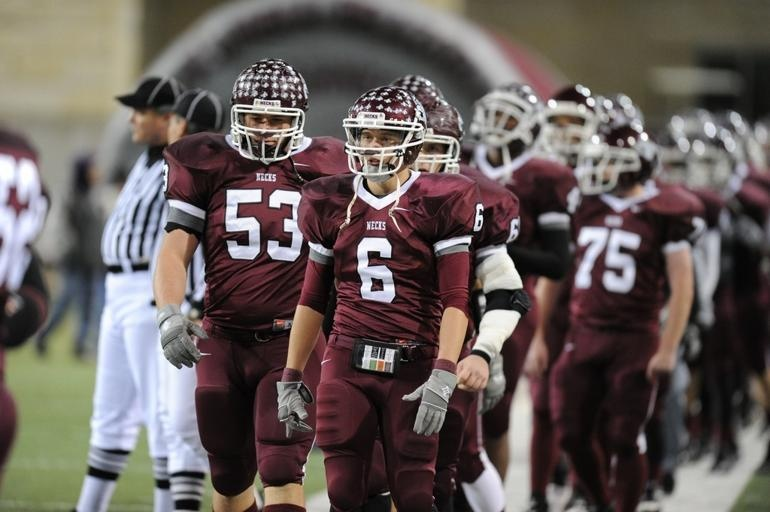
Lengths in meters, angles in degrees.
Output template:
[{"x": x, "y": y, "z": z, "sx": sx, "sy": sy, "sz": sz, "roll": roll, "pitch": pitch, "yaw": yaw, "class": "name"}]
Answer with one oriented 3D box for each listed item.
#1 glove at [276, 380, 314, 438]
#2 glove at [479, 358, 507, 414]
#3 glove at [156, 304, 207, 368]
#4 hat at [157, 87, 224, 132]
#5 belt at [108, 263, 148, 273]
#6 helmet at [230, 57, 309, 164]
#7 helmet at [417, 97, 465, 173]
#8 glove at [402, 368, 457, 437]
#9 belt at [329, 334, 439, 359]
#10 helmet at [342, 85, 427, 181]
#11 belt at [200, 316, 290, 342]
[{"x": -0.493, "y": 0.825, "z": 5.320, "sx": 0.206, "sy": 0.290, "sz": 0.180, "roll": -1, "pitch": 0, "yaw": 37, "class": "glove"}, {"x": 0.643, "y": 0.776, "z": 5.791, "sx": 0.122, "sy": 0.336, "sz": 0.247, "roll": -2, "pitch": 21, "yaw": 0, "class": "glove"}, {"x": -1.133, "y": 0.485, "z": 5.413, "sx": 0.251, "sy": 0.349, "sz": 0.126, "roll": -26, "pitch": -13, "yaw": -8, "class": "glove"}, {"x": -1.355, "y": -1.059, "z": 6.891, "sx": 0.250, "sy": 0.224, "sz": 0.353, "roll": -9, "pitch": 33, "yaw": -43, "class": "hat"}, {"x": -1.715, "y": 0.089, "z": 6.430, "sx": 0.146, "sy": 0.053, "sz": 0.109, "roll": 0, "pitch": -4, "yaw": 7, "class": "belt"}, {"x": -0.702, "y": -0.906, "z": 5.786, "sx": 0.426, "sy": 0.563, "sz": 0.597, "roll": 6, "pitch": 22, "yaw": 0, "class": "helmet"}, {"x": 0.310, "y": -0.732, "z": 6.108, "sx": 0.354, "sy": 0.462, "sz": 0.489, "roll": 5, "pitch": 8, "yaw": 7, "class": "helmet"}, {"x": 0.246, "y": 0.765, "z": 5.131, "sx": 0.240, "sy": 0.368, "sz": 0.120, "roll": 19, "pitch": 8, "yaw": 4, "class": "glove"}, {"x": -0.011, "y": 0.482, "z": 5.207, "sx": 0.380, "sy": 0.087, "sz": 0.217, "roll": 7, "pitch": -5, "yaw": 4, "class": "belt"}, {"x": 0.070, "y": -0.697, "z": 5.364, "sx": 0.515, "sy": 0.468, "sz": 0.409, "roll": -14, "pitch": 19, "yaw": -38, "class": "helmet"}, {"x": -0.817, "y": 0.431, "z": 5.646, "sx": 0.546, "sy": 0.152, "sz": 0.094, "roll": 3, "pitch": -7, "yaw": 16, "class": "belt"}]
